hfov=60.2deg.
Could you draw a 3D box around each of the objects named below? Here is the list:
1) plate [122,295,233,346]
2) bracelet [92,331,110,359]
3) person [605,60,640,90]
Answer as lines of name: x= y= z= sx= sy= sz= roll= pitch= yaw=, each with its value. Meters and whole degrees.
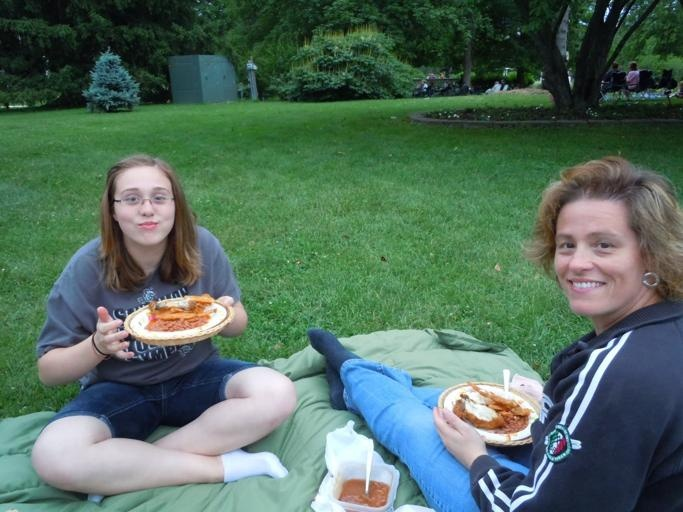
plate: x=-1.030 y=0.407 z=3.776 sx=0.411 sy=0.065 sz=0.437 roll=24 pitch=30 yaw=39
bracelet: x=-1.505 y=0.566 z=3.666 sx=0.085 sy=0.192 sz=0.087 roll=-7 pitch=21 yaw=-24
person: x=9.882 y=-6.314 z=20.754 sx=1.161 sy=1.017 sz=2.811 roll=10 pitch=20 yaw=23
